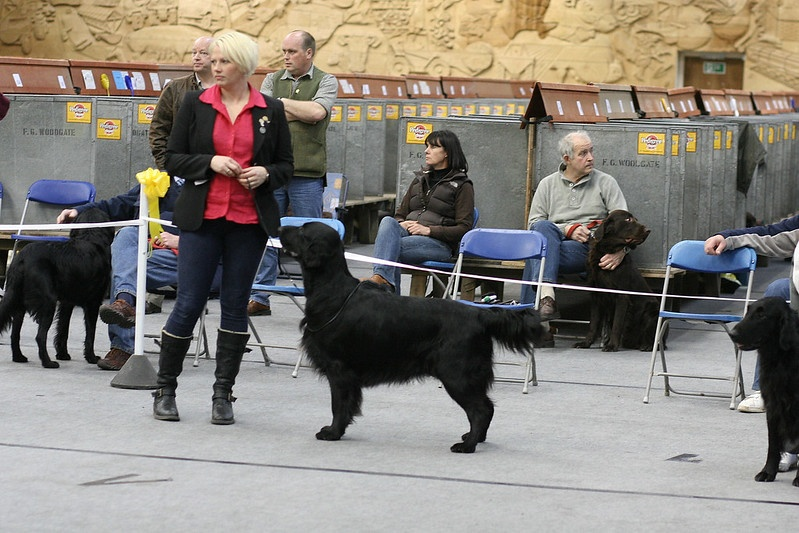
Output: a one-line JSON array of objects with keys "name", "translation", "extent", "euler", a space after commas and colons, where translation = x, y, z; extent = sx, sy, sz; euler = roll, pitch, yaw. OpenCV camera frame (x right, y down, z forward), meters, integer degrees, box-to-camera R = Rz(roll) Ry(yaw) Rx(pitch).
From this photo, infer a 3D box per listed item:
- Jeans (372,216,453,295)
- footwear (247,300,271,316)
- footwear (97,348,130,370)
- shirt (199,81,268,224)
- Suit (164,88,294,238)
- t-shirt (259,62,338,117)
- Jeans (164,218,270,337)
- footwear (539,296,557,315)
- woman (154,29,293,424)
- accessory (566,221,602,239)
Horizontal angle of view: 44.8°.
[{"name": "Jeans", "translation": [0.050, -0.160, 8.556], "extent": [0.949, 0.423, 0.458], "euler": [-18, 9, -29]}, {"name": "footwear", "translation": [-1.385, 0.423, 9.575], "extent": [0.133, 0.105, 0.272], "euler": [-2, -8, 43]}, {"name": "footwear", "translation": [-2.154, 0.709, 7.287], "extent": [0.150, 0.139, 0.338], "euler": [3, -4, 17]}, {"name": "shirt", "translation": [-1.033, -0.689, 5.994], "extent": [0.402, 0.844, 0.295], "euler": [1, 13, -8]}, {"name": "Suit", "translation": [-1.069, -0.680, 6.121], "extent": [0.859, 0.735, 0.491], "euler": [2, 20, -8]}, {"name": "t-shirt", "translation": [-0.993, -1.652, 9.431], "extent": [0.738, 0.621, 0.441], "euler": [-1, -24, 3]}, {"name": "Jeans", "translation": [-1.188, 0.071, 6.138], "extent": [0.604, 0.961, 0.357], "euler": [6, 3, -18]}, {"name": "footwear", "translation": [1.208, 0.318, 7.901], "extent": [0.157, 0.165, 0.193], "euler": [-5, -16, 19]}, {"name": "woman", "translation": [-1.068, -0.277, 6.120], "extent": [0.971, 2.279, 0.864], "euler": [-4, 5, -37]}, {"name": "accessory", "translation": [1.646, -0.333, 8.659], "extent": [0.260, 0.074, 0.180], "euler": [-15, -2, 23]}]
